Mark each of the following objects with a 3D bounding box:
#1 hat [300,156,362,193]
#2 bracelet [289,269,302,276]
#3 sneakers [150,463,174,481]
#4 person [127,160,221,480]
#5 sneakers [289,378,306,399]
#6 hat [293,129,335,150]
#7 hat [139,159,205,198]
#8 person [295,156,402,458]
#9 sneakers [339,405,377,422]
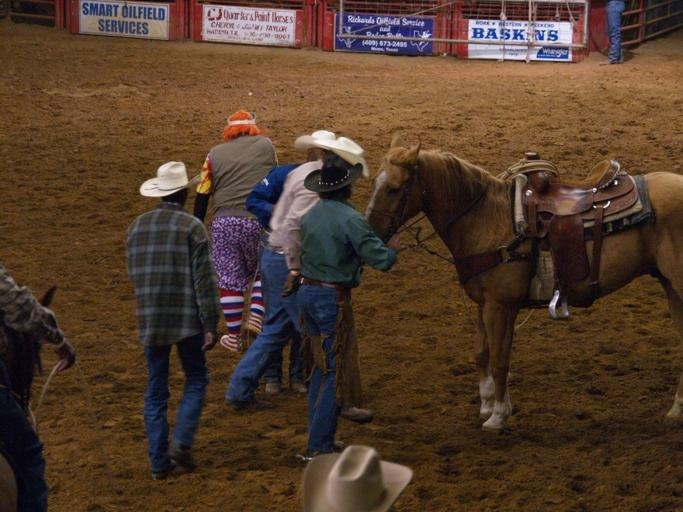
[{"bbox_3d":[-0.057,-0.676,6.060,0.354,0.127,0.298,-34,40,-30],"label":"hat"},{"bbox_3d":[-0.373,0.134,6.368,0.061,0.043,0.059,1,-2,23],"label":"bracelet"},{"bbox_3d":[-1.393,1.678,6.202,0.078,0.081,0.207,8,19,22],"label":"sneakers"},{"bbox_3d":[-1.345,0.487,6.260,0.650,2.396,0.744,-9,15,-24],"label":"person"},{"bbox_3d":[-0.411,1.225,7.387,0.173,0.062,0.136,24,18,23],"label":"sneakers"},{"bbox_3d":[-0.195,-0.965,6.567,0.250,0.064,0.216,-16,26,-21],"label":"hat"},{"bbox_3d":[-1.318,-0.645,6.283,0.357,0.148,0.424,16,36,39],"label":"hat"},{"bbox_3d":[-0.034,0.434,6.208,0.693,2.348,0.553,-4,14,-8],"label":"person"},{"bbox_3d":[0.130,1.263,6.389,0.267,0.093,0.145,12,-18,-11],"label":"sneakers"}]
